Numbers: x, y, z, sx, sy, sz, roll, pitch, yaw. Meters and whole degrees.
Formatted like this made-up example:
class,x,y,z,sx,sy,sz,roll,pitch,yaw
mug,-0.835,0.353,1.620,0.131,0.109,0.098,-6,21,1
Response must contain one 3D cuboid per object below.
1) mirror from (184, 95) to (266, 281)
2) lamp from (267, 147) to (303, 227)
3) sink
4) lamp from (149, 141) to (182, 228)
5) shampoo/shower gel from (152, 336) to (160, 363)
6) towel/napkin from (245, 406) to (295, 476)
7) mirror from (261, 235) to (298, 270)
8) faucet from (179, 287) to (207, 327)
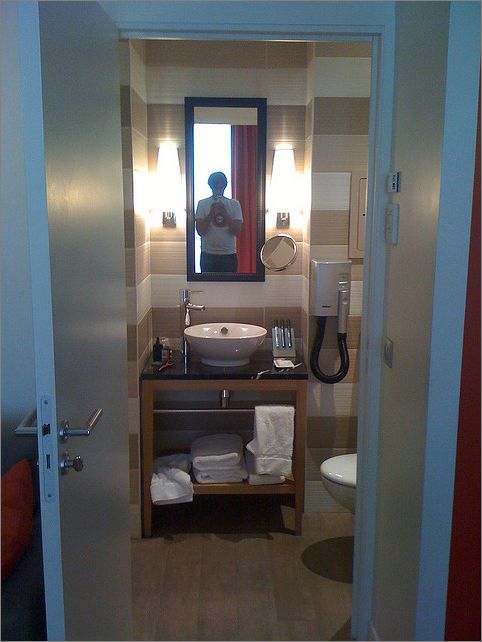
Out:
class,x,y,z,sx,sy,sz,roll,pitch,yaw
mirror,-0.138,-0.663,2.762,0.479,1.513,0.053,0,-26,9
lamp,0.236,-0.741,2.743,0.177,0.663,0.240,1,23,4
sink,-0.082,0.121,2.630,0.412,0.186,0.465,-1,5,-7
lamp,-0.393,-0.730,2.731,0.169,0.447,0.083,-1,4,-14
shampoo/shower gel,-0.424,0.142,2.566,0.046,0.120,0.106,-1,4,-11
towel/napkin,0.148,0.576,2.484,0.196,0.098,0.384,-3,53,8
mirror,0.206,-0.378,2.809,0.200,0.191,0.039,0,4,3
faucet,-0.254,-0.073,2.791,0.127,0.208,0.148,1,4,9
